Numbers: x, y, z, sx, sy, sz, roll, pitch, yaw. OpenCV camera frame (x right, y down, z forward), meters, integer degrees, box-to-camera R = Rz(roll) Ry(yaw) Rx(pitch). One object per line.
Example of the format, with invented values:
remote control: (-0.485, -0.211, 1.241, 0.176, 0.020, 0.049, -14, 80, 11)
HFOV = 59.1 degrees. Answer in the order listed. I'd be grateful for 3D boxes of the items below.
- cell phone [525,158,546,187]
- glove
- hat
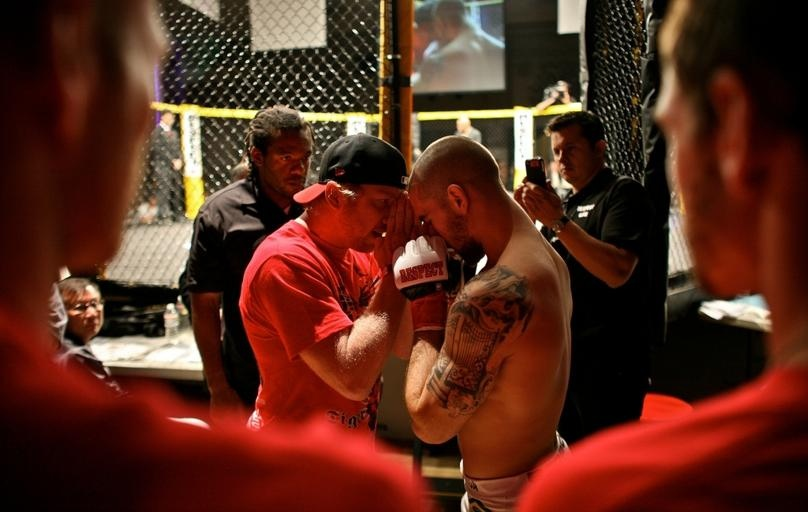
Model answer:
cell phone: (0.605, -0.382, 3.250, 0.078, 0.140, 0.141, 3, 7, 14)
glove: (0.077, 0.037, 2.214, 0.170, 0.102, 0.219, -18, 31, -5)
hat: (-0.183, -0.279, 2.327, 0.299, 0.184, 0.230, 4, 5, 4)
